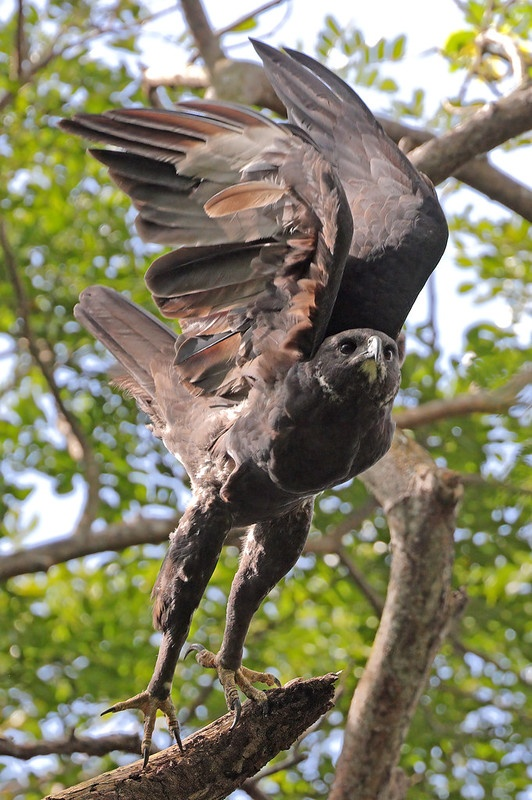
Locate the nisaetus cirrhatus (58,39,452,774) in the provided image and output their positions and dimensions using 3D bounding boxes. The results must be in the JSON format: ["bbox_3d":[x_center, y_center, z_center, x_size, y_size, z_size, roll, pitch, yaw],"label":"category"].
[{"bbox_3d":[-0.125,-0.060,3.881,1.131,2.130,1.416,10,-36,6],"label":"nisaetus cirrhatus"}]
